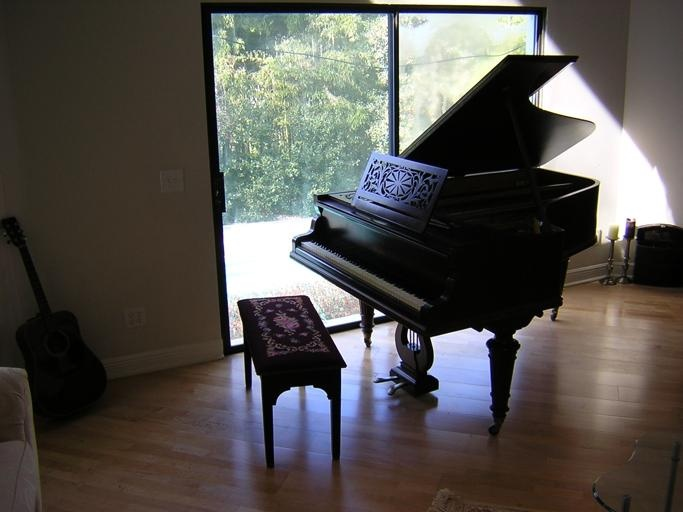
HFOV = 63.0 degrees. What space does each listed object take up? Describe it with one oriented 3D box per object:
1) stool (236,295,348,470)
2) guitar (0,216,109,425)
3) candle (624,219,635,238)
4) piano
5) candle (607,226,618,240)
[{"bbox_3d":[-0.316,0.775,3.534,0.558,0.834,0.772,-4,12,-11],"label":"stool"},{"bbox_3d":[-1.944,0.510,3.724,0.560,1.417,0.211,-16,-3,-35],"label":"guitar"},{"bbox_3d":[2.911,-0.273,5.641,0.086,0.195,0.105,4,13,26],"label":"candle"},{"bbox_3d":[0.582,-0.245,4.410,2.596,2.737,1.920,-10,15,-32],"label":"piano"},{"bbox_3d":[2.761,-0.244,5.683,0.097,0.151,0.164,3,13,25],"label":"candle"}]
